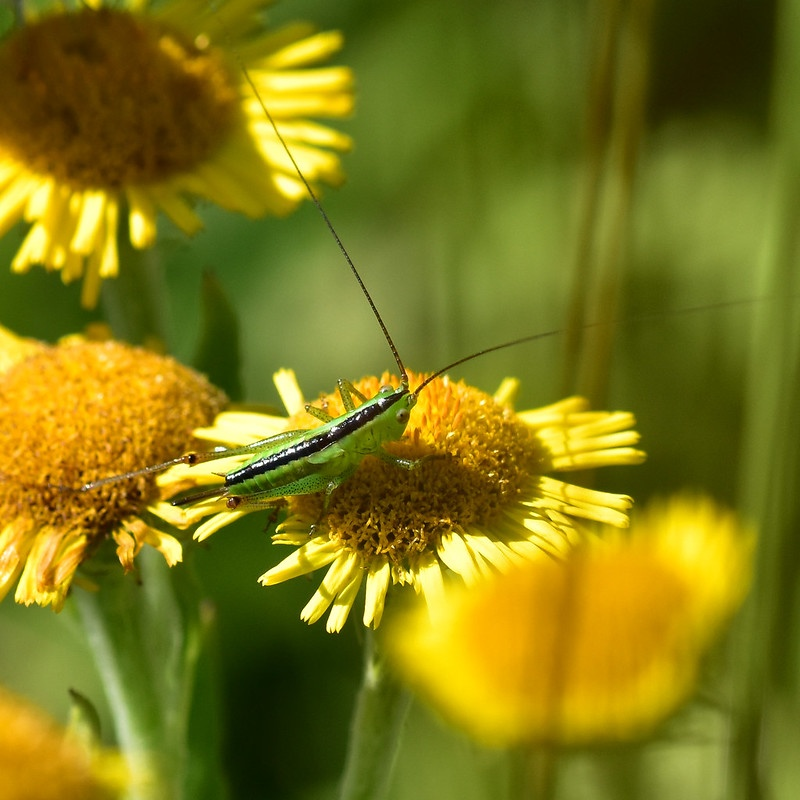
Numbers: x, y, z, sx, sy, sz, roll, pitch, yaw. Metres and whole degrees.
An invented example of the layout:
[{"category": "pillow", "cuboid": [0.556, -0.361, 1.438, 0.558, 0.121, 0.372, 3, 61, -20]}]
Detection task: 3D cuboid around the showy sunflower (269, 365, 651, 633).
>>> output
[{"category": "showy sunflower", "cuboid": [0.057, 0.109, 1.287, 0.530, 0.168, 0.577, -20, 16, -29]}]
